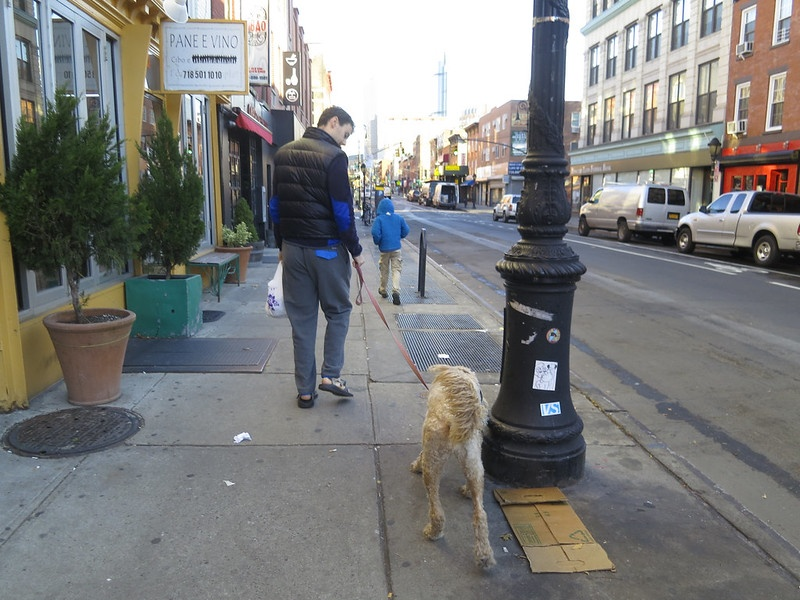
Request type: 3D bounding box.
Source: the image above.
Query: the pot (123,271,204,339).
[{"bbox_3d":[-3.006,0.033,7.620,0.684,0.775,0.791,1,3,2],"label":"pot"}]

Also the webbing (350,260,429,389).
[{"bbox_3d":[-0.153,0.359,8.441,0.141,1.777,0.404,-29,-24,6],"label":"webbing"}]

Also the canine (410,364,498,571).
[{"bbox_3d":[0.412,1.072,4.479,0.542,1.119,1.862,5,5,3],"label":"canine"}]

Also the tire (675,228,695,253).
[{"bbox_3d":[9.658,-1.958,19.920,0.238,0.820,0.738,0,8,-15],"label":"tire"}]

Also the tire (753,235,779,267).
[{"bbox_3d":[10.211,-1.305,16.402,0.273,0.944,0.764,3,3,-14],"label":"tire"}]

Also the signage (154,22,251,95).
[{"bbox_3d":[-2.878,-3.475,8.571,0.900,0.882,0.042,0,7,-5],"label":"signage"}]

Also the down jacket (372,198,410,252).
[{"bbox_3d":[-0.178,-1.288,10.793,0.583,1.014,0.820,3,12,0],"label":"down jacket"}]

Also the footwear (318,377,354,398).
[{"bbox_3d":[-0.622,0.876,5.764,0.388,0.199,0.152,15,20,-40],"label":"footwear"}]

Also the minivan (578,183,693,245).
[{"bbox_3d":[9.627,-3.585,24.780,1.974,2.088,4.548,1,12,-14],"label":"minivan"}]

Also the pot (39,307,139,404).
[{"bbox_3d":[-2.857,0.479,5.665,0.785,0.887,0.812,6,8,-1],"label":"pot"}]

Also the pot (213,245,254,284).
[{"bbox_3d":[-3.404,-0.694,12.117,0.690,0.773,0.708,1,3,0],"label":"pot"}]

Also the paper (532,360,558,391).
[{"bbox_3d":[1.091,0.570,4.469,0.168,0.271,0.027,5,3,-2],"label":"paper"}]

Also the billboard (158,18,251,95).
[{"bbox_3d":[-2.873,-3.487,8.568,0.954,0.938,0.043,0,6,-5],"label":"billboard"}]
